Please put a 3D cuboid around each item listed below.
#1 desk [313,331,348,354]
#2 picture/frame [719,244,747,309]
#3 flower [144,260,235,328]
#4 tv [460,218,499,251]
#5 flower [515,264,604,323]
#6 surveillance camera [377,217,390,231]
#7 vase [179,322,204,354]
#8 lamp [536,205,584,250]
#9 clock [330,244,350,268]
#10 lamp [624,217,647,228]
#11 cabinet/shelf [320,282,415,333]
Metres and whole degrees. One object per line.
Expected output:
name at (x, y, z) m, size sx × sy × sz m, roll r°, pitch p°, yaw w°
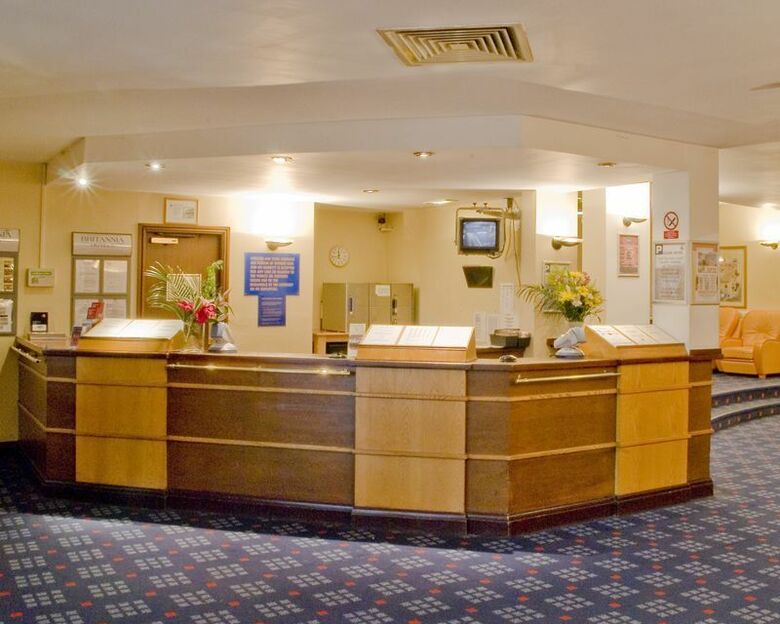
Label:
desk at (-0.909, 0.475, 9.287) m, size 0.512 × 0.410 × 0.464 m, roll -1°, pitch 2°, yaw -19°
picture/frame at (7.382, -0.764, 12.903) m, size 0.127 × 1.094 × 0.520 m, roll 0°, pitch 1°, yaw -34°
flower at (-2.293, -0.218, 6.690) m, size 0.993 × 0.695 × 0.909 m, roll 1°, pitch -4°, yaw -7°
tv at (1.236, -1.050, 8.420) m, size 0.757 × 0.548 × 0.426 m, roll 0°, pitch -2°, yaw 6°
flower at (2.104, -0.229, 7.369) m, size 0.679 × 0.679 × 0.917 m, roll 1°, pitch 1°, yaw -12°
surveillance camera at (-0.105, -1.595, 10.811) m, size 0.209 × 0.249 × 0.151 m, roll 1°, pitch 1°, yaw -2°
vase at (-1.746, 0.213, 5.317) m, size 0.172 × 0.233 × 0.294 m, roll 0°, pitch 1°, yaw -21°
lamp at (2.593, -1.141, 8.594) m, size 0.381 × 0.668 × 2.144 m, roll 1°, pitch 1°, yaw 20°
clock at (-0.902, -1.001, 10.606) m, size 0.499 × 0.418 × 0.061 m, roll -1°, pitch 3°, yaw -23°
lamp at (3.141, -1.132, 7.663) m, size 0.295 × 0.115 × 0.146 m, roll -2°, pitch 0°, yaw 13°
cabinet/shelf at (-0.464, -0.134, 9.772) m, size 1.427 × 0.629 × 0.888 m, roll 1°, pitch -2°, yaw -29°
